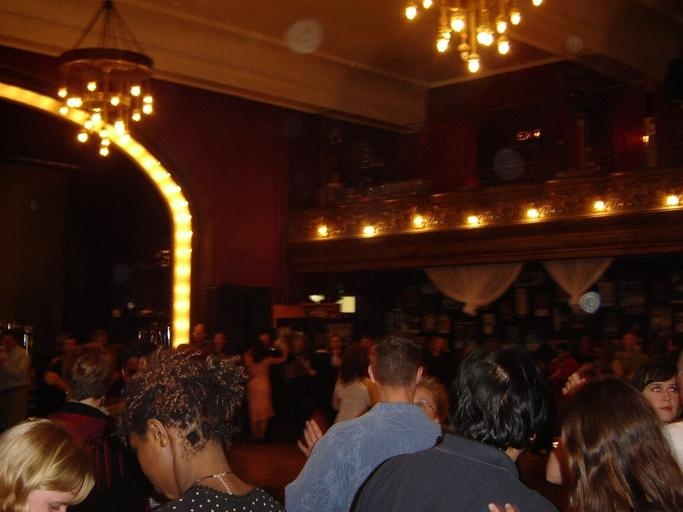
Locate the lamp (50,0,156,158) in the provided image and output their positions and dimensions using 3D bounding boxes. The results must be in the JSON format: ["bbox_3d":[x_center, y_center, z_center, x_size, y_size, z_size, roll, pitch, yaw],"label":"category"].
[{"bbox_3d":[-3.143,-2.459,8.063,1.220,2.184,2.593,3,-9,-21],"label":"lamp"}]
